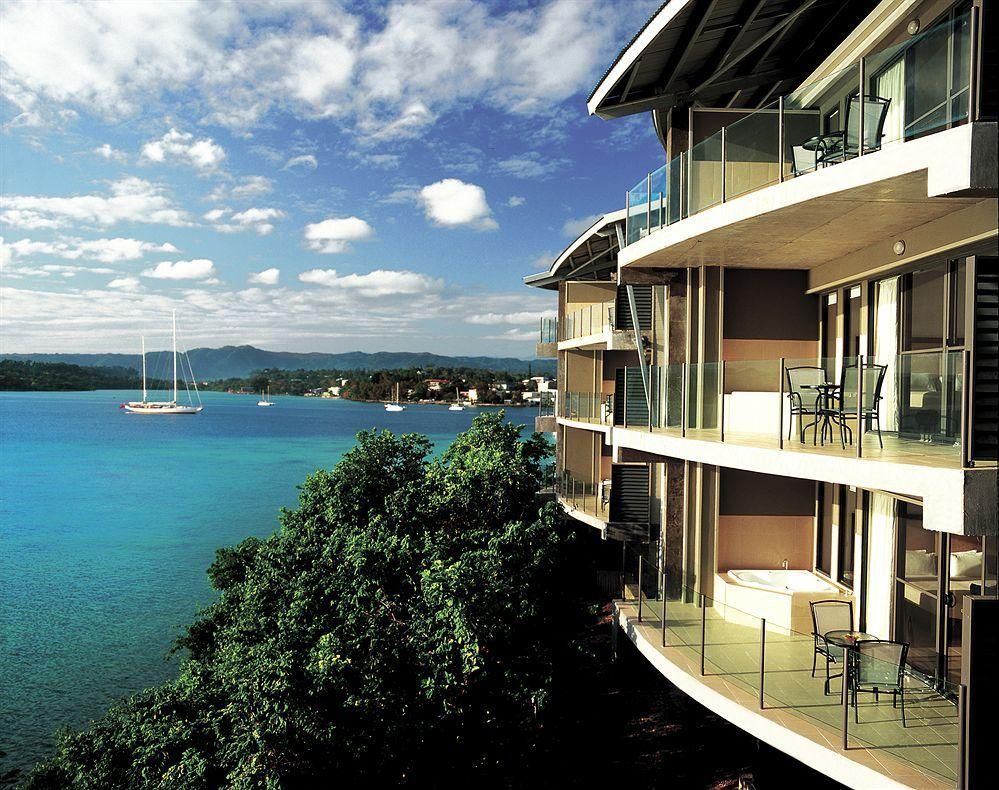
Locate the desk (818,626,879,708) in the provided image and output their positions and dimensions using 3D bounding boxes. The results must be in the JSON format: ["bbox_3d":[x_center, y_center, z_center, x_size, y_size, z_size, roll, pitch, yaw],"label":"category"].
[{"bbox_3d":[6.854,5.487,17.290,1.355,1.304,1.264,2,-5,-27],"label":"desk"}]

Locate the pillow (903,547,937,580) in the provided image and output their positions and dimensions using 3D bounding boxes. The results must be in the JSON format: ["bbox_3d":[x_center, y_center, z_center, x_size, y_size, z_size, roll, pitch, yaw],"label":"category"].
[{"bbox_3d":[8.845,3.527,18.009,0.572,0.684,0.731,0,1,-33],"label":"pillow"}]

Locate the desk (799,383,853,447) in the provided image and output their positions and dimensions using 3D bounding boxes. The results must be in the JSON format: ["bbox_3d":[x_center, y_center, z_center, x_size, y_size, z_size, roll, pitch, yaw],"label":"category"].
[{"bbox_3d":[6.677,0.351,17.612,0.992,1.198,0.921,1,-1,-4],"label":"desk"}]

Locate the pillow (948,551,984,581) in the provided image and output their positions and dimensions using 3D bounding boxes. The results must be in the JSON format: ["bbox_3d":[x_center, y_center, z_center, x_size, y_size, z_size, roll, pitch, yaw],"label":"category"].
[{"bbox_3d":[9.045,3.352,16.756,0.569,0.353,0.538,-3,0,6],"label":"pillow"}]

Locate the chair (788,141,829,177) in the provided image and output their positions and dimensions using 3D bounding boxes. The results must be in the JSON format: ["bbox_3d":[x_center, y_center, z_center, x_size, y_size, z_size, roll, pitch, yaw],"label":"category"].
[{"bbox_3d":[6.684,-5.146,18.536,0.801,0.811,0.704,-2,4,-32],"label":"chair"}]

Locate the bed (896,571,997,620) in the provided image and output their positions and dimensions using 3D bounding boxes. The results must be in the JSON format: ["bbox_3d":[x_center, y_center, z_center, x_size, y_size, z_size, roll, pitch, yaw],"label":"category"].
[{"bbox_3d":[8.931,3.976,17.401,0.354,1.042,2.496,-1,2,-9],"label":"bed"}]
